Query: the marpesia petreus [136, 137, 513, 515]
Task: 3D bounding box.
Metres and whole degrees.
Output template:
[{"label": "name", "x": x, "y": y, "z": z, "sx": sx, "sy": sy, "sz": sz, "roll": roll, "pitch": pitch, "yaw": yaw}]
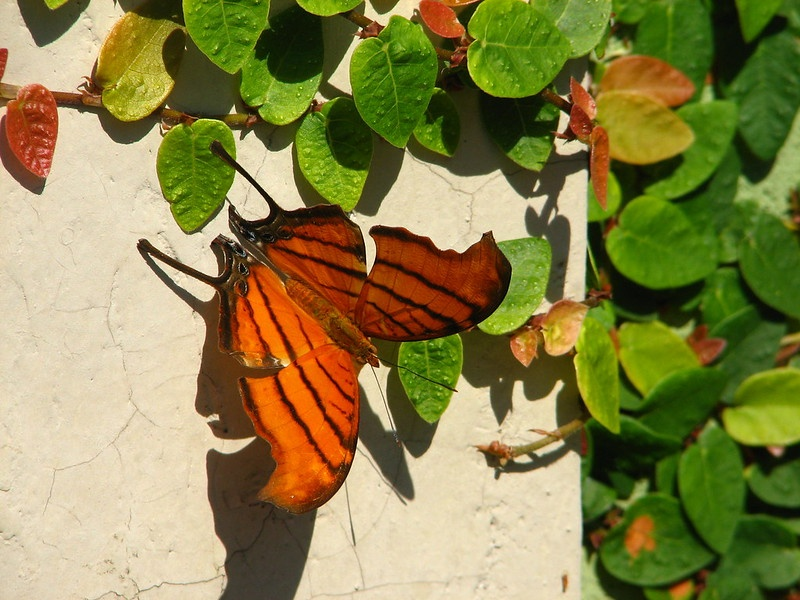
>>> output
[{"label": "marpesia petreus", "x": -0.120, "y": 0.043, "z": 2.807, "sx": 0.654, "sy": 0.699, "sz": 0.279, "roll": 39, "pitch": 1, "yaw": 2}]
